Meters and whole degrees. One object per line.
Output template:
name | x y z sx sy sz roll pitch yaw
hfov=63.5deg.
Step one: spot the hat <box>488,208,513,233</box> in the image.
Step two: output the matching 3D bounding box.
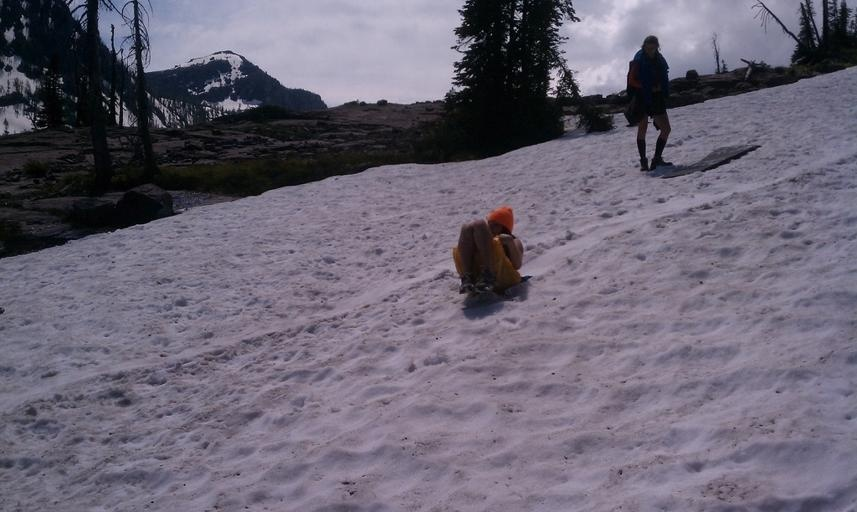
hat | 1.362 -0.703 13.539 0.584 0.440 0.412 5 -9 17
